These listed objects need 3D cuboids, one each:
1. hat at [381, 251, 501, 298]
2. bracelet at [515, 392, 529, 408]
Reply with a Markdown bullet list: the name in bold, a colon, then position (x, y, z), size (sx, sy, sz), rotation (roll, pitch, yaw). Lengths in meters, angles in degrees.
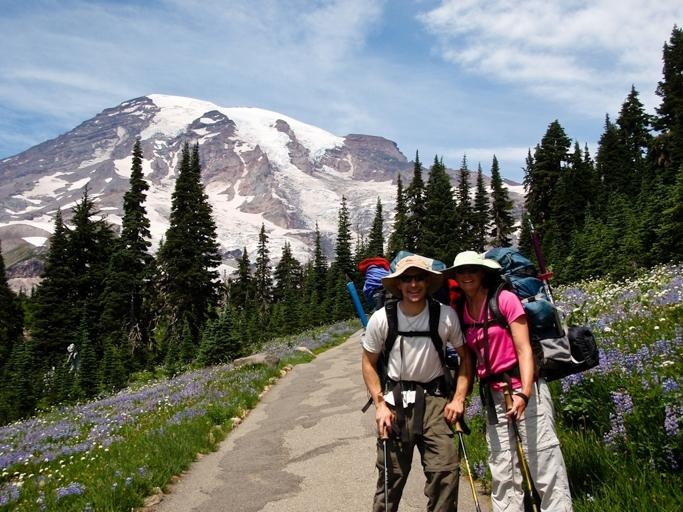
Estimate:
- **hat**: position (1.373, 0.184, 7.567), size (1.189, 0.322, 0.874), rotation (-11, -6, 8)
- **bracelet**: position (2.458, 1.960, 6.890), size (0.177, 0.068, 0.174), rotation (41, 9, 17)
